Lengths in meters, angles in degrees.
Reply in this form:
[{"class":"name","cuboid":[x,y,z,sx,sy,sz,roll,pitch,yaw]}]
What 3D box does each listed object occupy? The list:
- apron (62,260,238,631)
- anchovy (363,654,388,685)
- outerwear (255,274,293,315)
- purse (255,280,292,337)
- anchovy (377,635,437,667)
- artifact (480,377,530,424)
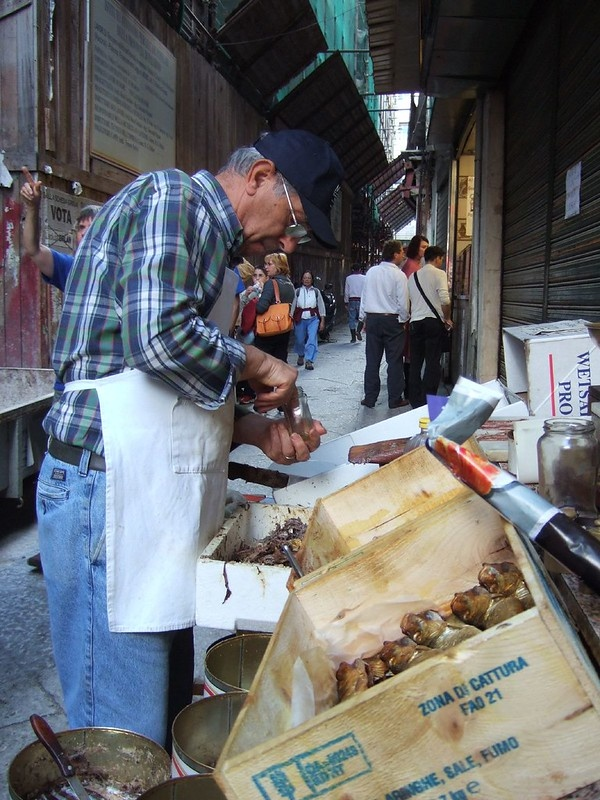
[{"class":"apron","cuboid":[-0.295,0.113,1.586,0.492,0.823,0.488,2,20,-4]},{"class":"anchovy","cuboid":[0.119,0.432,1.013,0.030,0.009,0.031,22,45,41]},{"class":"outerwear","cuboid":[-0.329,-1.328,8.095,0.585,0.533,0.298,-8,-11,-37]},{"class":"purse","cuboid":[-0.332,-1.142,7.986,0.553,0.783,0.284,-14,-22,13]},{"class":"anchovy","cuboid":[0.169,0.387,1.002,0.054,0.038,0.087,-21,-16,-11]},{"class":"artifact","cuboid":[0.778,0.007,2.329,0.136,0.085,0.188,-13,13,17]}]
